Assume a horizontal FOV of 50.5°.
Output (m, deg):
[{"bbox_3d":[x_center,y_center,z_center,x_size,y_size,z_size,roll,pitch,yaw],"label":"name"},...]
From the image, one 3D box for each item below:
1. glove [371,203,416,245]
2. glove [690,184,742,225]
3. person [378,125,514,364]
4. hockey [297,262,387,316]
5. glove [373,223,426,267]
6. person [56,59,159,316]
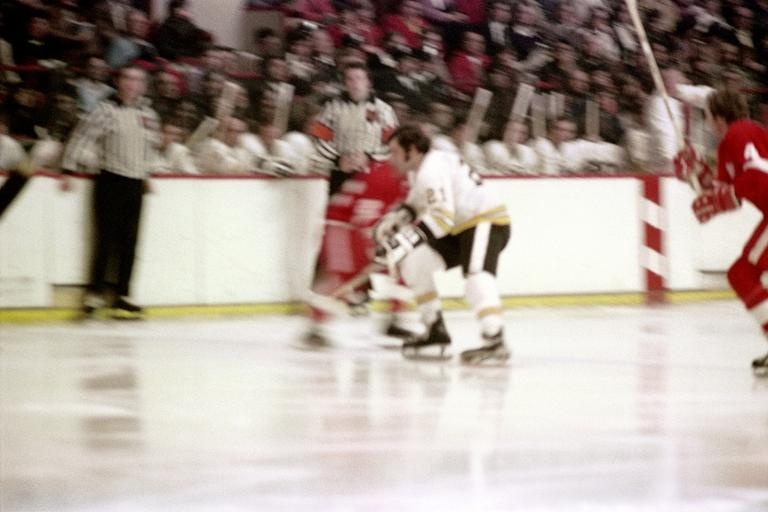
[{"bbox_3d":[0.054,-0.170,4.221,0.263,0.069,0.144,-42,61,-16],"label":"glove"},{"bbox_3d":[1.683,-0.274,4.126,0.206,0.074,0.195,-34,18,5],"label":"glove"},{"bbox_3d":[0.322,-0.065,4.238,0.704,1.223,0.458,1,9,10],"label":"person"},{"bbox_3d":[-0.210,0.191,4.891,0.488,0.328,0.210,4,9,32],"label":"hockey"},{"bbox_3d":[0.082,-0.070,4.190,0.180,0.098,0.297,-17,13,33],"label":"glove"},{"bbox_3d":[-1.946,-0.438,5.723,0.592,1.715,0.336,-3,9,-18],"label":"person"}]
